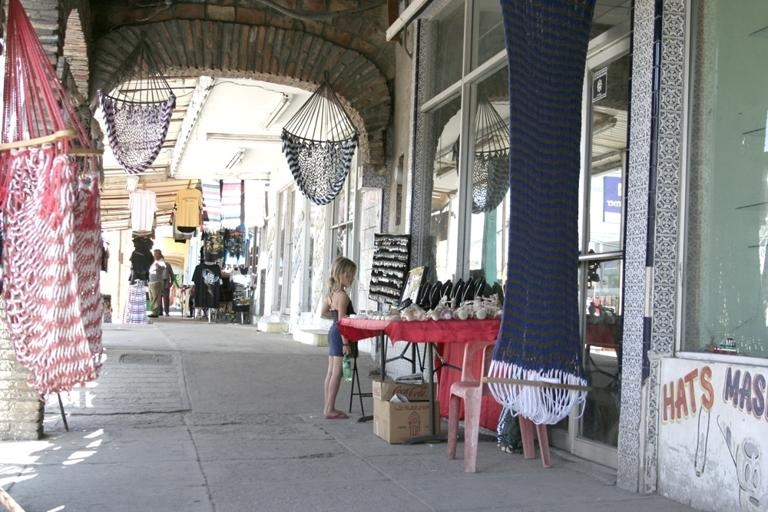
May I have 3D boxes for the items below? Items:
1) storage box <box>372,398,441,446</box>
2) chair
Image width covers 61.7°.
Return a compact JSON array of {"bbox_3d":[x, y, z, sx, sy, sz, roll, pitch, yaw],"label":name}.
[{"bbox_3d":[0.180,1.494,5.975,0.510,0.337,0.518,4,-6,-27],"label":"storage box"},{"bbox_3d":[0.906,1.201,5.226,0.718,0.966,0.538,1,3,-13],"label":"chair"}]
